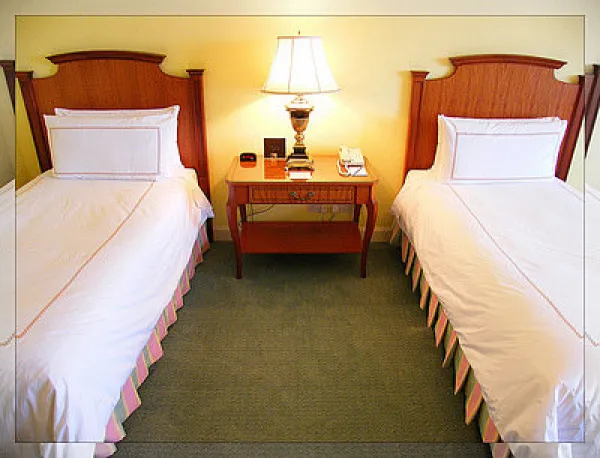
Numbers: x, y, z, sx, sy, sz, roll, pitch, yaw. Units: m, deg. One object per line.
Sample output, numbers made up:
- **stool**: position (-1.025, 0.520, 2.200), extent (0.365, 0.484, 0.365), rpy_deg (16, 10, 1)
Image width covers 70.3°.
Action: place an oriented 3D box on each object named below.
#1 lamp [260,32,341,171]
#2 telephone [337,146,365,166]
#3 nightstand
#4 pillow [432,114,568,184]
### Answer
- **lamp**: position (0.005, -0.673, 2.298), extent (0.388, 0.681, 0.231), rpy_deg (1, 22, 3)
- **telephone**: position (0.280, -0.407, 2.378), extent (0.123, 0.092, 0.122), rpy_deg (0, 22, 1)
- **nightstand**: position (0.008, -0.088, 2.534), extent (0.794, 0.593, 0.522), rpy_deg (-1, 24, -3)
- **pillow**: position (0.987, -0.388, 2.103), extent (0.548, 0.336, 0.141), rpy_deg (2, 27, 23)
